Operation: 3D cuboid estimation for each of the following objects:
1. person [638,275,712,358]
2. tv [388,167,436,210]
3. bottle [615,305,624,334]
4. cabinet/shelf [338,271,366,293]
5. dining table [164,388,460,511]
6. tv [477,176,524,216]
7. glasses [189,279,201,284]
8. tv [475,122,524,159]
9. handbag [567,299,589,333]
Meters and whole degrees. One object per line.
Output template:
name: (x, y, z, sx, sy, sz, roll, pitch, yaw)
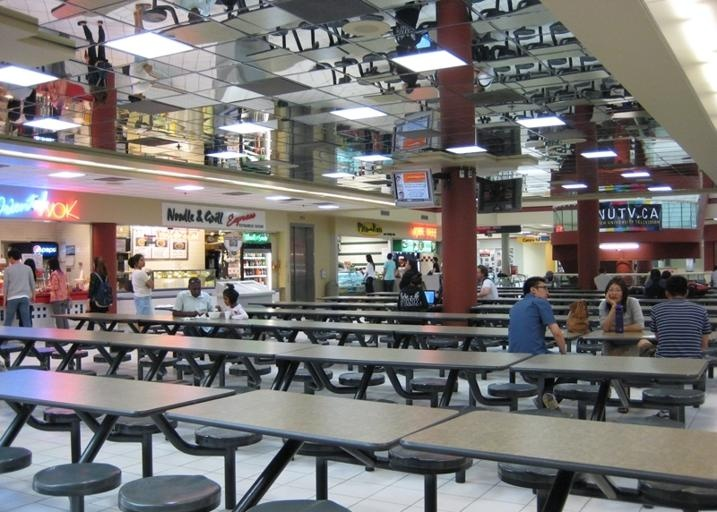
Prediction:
person: (3.092, 0.579, 5.912, 0.617, 0.779, 0.589, -2, -2, 22)
tv: (1.060, -1.364, 11.895, 1.372, 0.872, 0.400, -3, -6, 35)
bottle: (2.824, 0.676, 6.535, 0.085, 0.292, 0.212, -2, -2, 22)
cabinet/shelf: (-0.272, 0.974, 22.446, 1.126, 0.722, 0.227, 4, -18, -27)
dining table: (-0.260, 0.923, 3.355, 1.141, 0.199, 0.999, -2, -3, 38)
tv: (3.032, -1.322, 13.037, 0.885, 0.670, 0.705, -1, -2, 5)
glasses: (-2.430, 0.382, 8.955, 0.135, 0.070, 0.112, -1, 8, -20)
tv: (2.480, -2.008, 10.622, 0.733, 0.093, 2.352, -1, -2, 14)
handbag: (2.447, 0.676, 6.737, 0.234, 0.349, 0.485, -2, -2, 17)
